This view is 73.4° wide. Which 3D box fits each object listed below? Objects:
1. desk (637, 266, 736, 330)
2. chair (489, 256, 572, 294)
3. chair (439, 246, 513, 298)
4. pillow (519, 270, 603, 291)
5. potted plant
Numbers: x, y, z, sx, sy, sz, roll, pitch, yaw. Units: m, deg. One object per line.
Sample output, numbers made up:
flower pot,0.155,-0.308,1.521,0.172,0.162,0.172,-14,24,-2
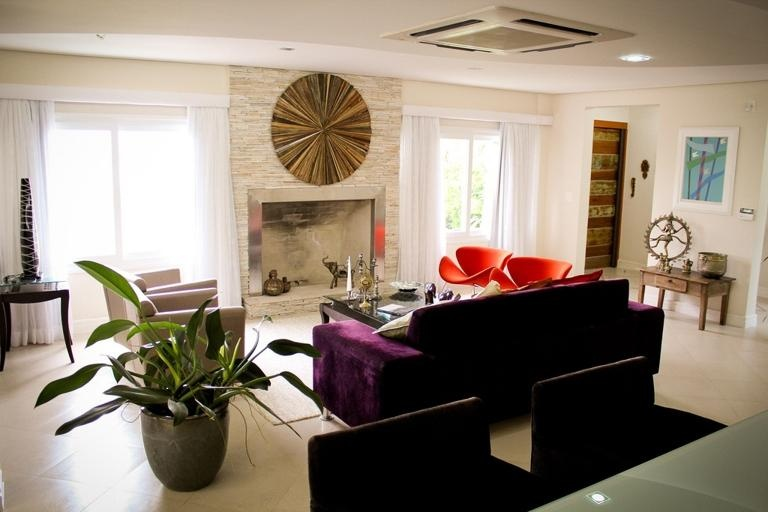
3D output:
desk,3.822,0.508,6.593,0.586,0.563,0.976,-2,10,-25
chair,1.669,0.190,6.013,0.646,0.454,0.627,0,9,-41
chair,1.149,0.245,6.726,0.824,0.591,0.779,15,22,40
pillow,1.599,0.217,4.585,0.371,0.114,0.409,-7,3,-5
potted plant,-1.232,0.719,3.525,1.505,1.548,1.307,-3,7,-9
